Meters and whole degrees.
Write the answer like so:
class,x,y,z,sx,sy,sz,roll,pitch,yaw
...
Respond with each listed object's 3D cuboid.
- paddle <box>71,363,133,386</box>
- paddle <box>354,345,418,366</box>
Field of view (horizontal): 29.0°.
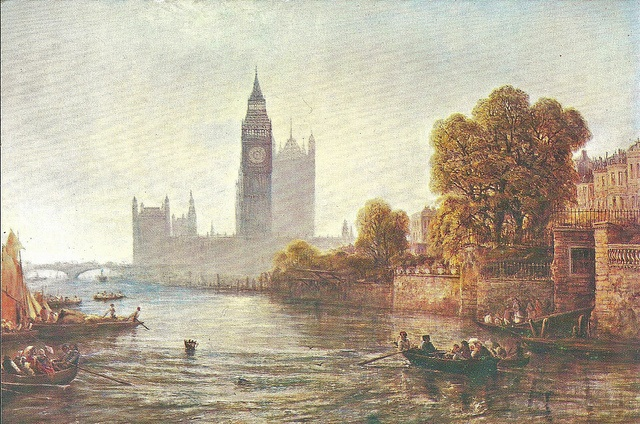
class,x,y,z,sx,sy,sz,roll,pitch,yaw
paddle,-10.626,7.915,60.037,4.570,0.520,0.212,10,-18,18
paddle,3.309,7.207,61.885,3.349,0.393,0.223,-15,-29,23
